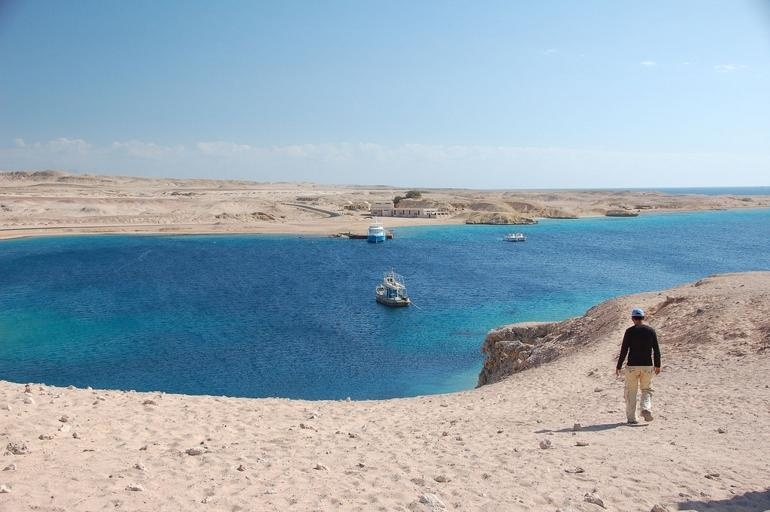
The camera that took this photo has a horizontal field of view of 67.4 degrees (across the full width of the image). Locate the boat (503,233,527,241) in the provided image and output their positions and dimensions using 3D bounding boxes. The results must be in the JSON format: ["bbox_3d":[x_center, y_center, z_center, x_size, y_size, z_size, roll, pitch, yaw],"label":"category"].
[{"bbox_3d":[30.937,-4.234,135.304,5.608,1.136,3.197,0,5,6],"label":"boat"}]
